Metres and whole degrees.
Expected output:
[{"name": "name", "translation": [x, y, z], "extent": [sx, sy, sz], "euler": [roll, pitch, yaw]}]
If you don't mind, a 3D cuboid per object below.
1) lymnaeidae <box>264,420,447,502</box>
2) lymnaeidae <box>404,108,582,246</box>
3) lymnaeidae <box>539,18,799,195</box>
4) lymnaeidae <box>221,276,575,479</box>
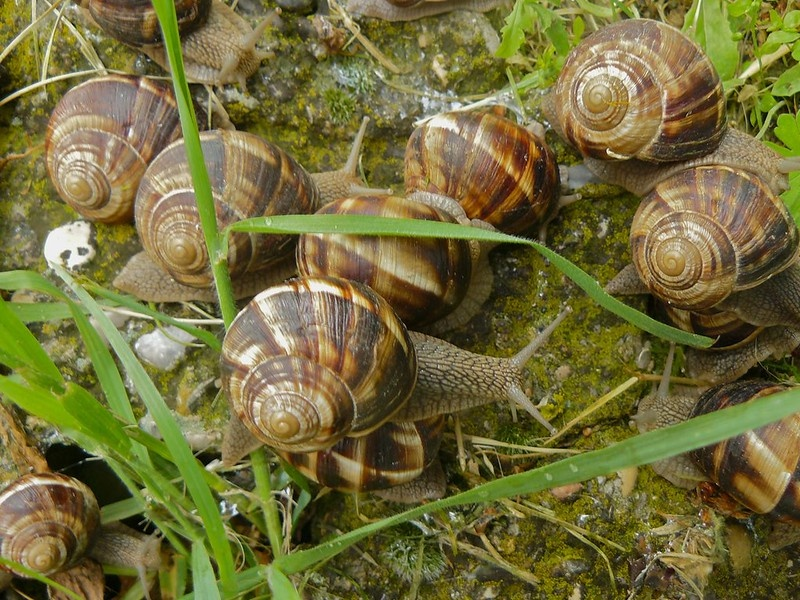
[{"name": "lymnaeidae", "translation": [-0.172, 0.663, 3.381], "extent": [0.433, 0.386, 0.313], "euler": [-5, 105, -9]}, {"name": "lymnaeidae", "translation": [0.384, -0.575, 3.550], "extent": [0.641, 0.374, 0.501], "euler": [-29, 76, -4]}, {"name": "lymnaeidae", "translation": [1.117, -0.853, 3.635], "extent": [1.040, 0.557, 0.666], "euler": [24, 80, 14]}, {"name": "lymnaeidae", "translation": [0.010, 0.302, 3.292], "extent": [1.270, 0.450, 0.751], "euler": [-1, 72, 1]}]
